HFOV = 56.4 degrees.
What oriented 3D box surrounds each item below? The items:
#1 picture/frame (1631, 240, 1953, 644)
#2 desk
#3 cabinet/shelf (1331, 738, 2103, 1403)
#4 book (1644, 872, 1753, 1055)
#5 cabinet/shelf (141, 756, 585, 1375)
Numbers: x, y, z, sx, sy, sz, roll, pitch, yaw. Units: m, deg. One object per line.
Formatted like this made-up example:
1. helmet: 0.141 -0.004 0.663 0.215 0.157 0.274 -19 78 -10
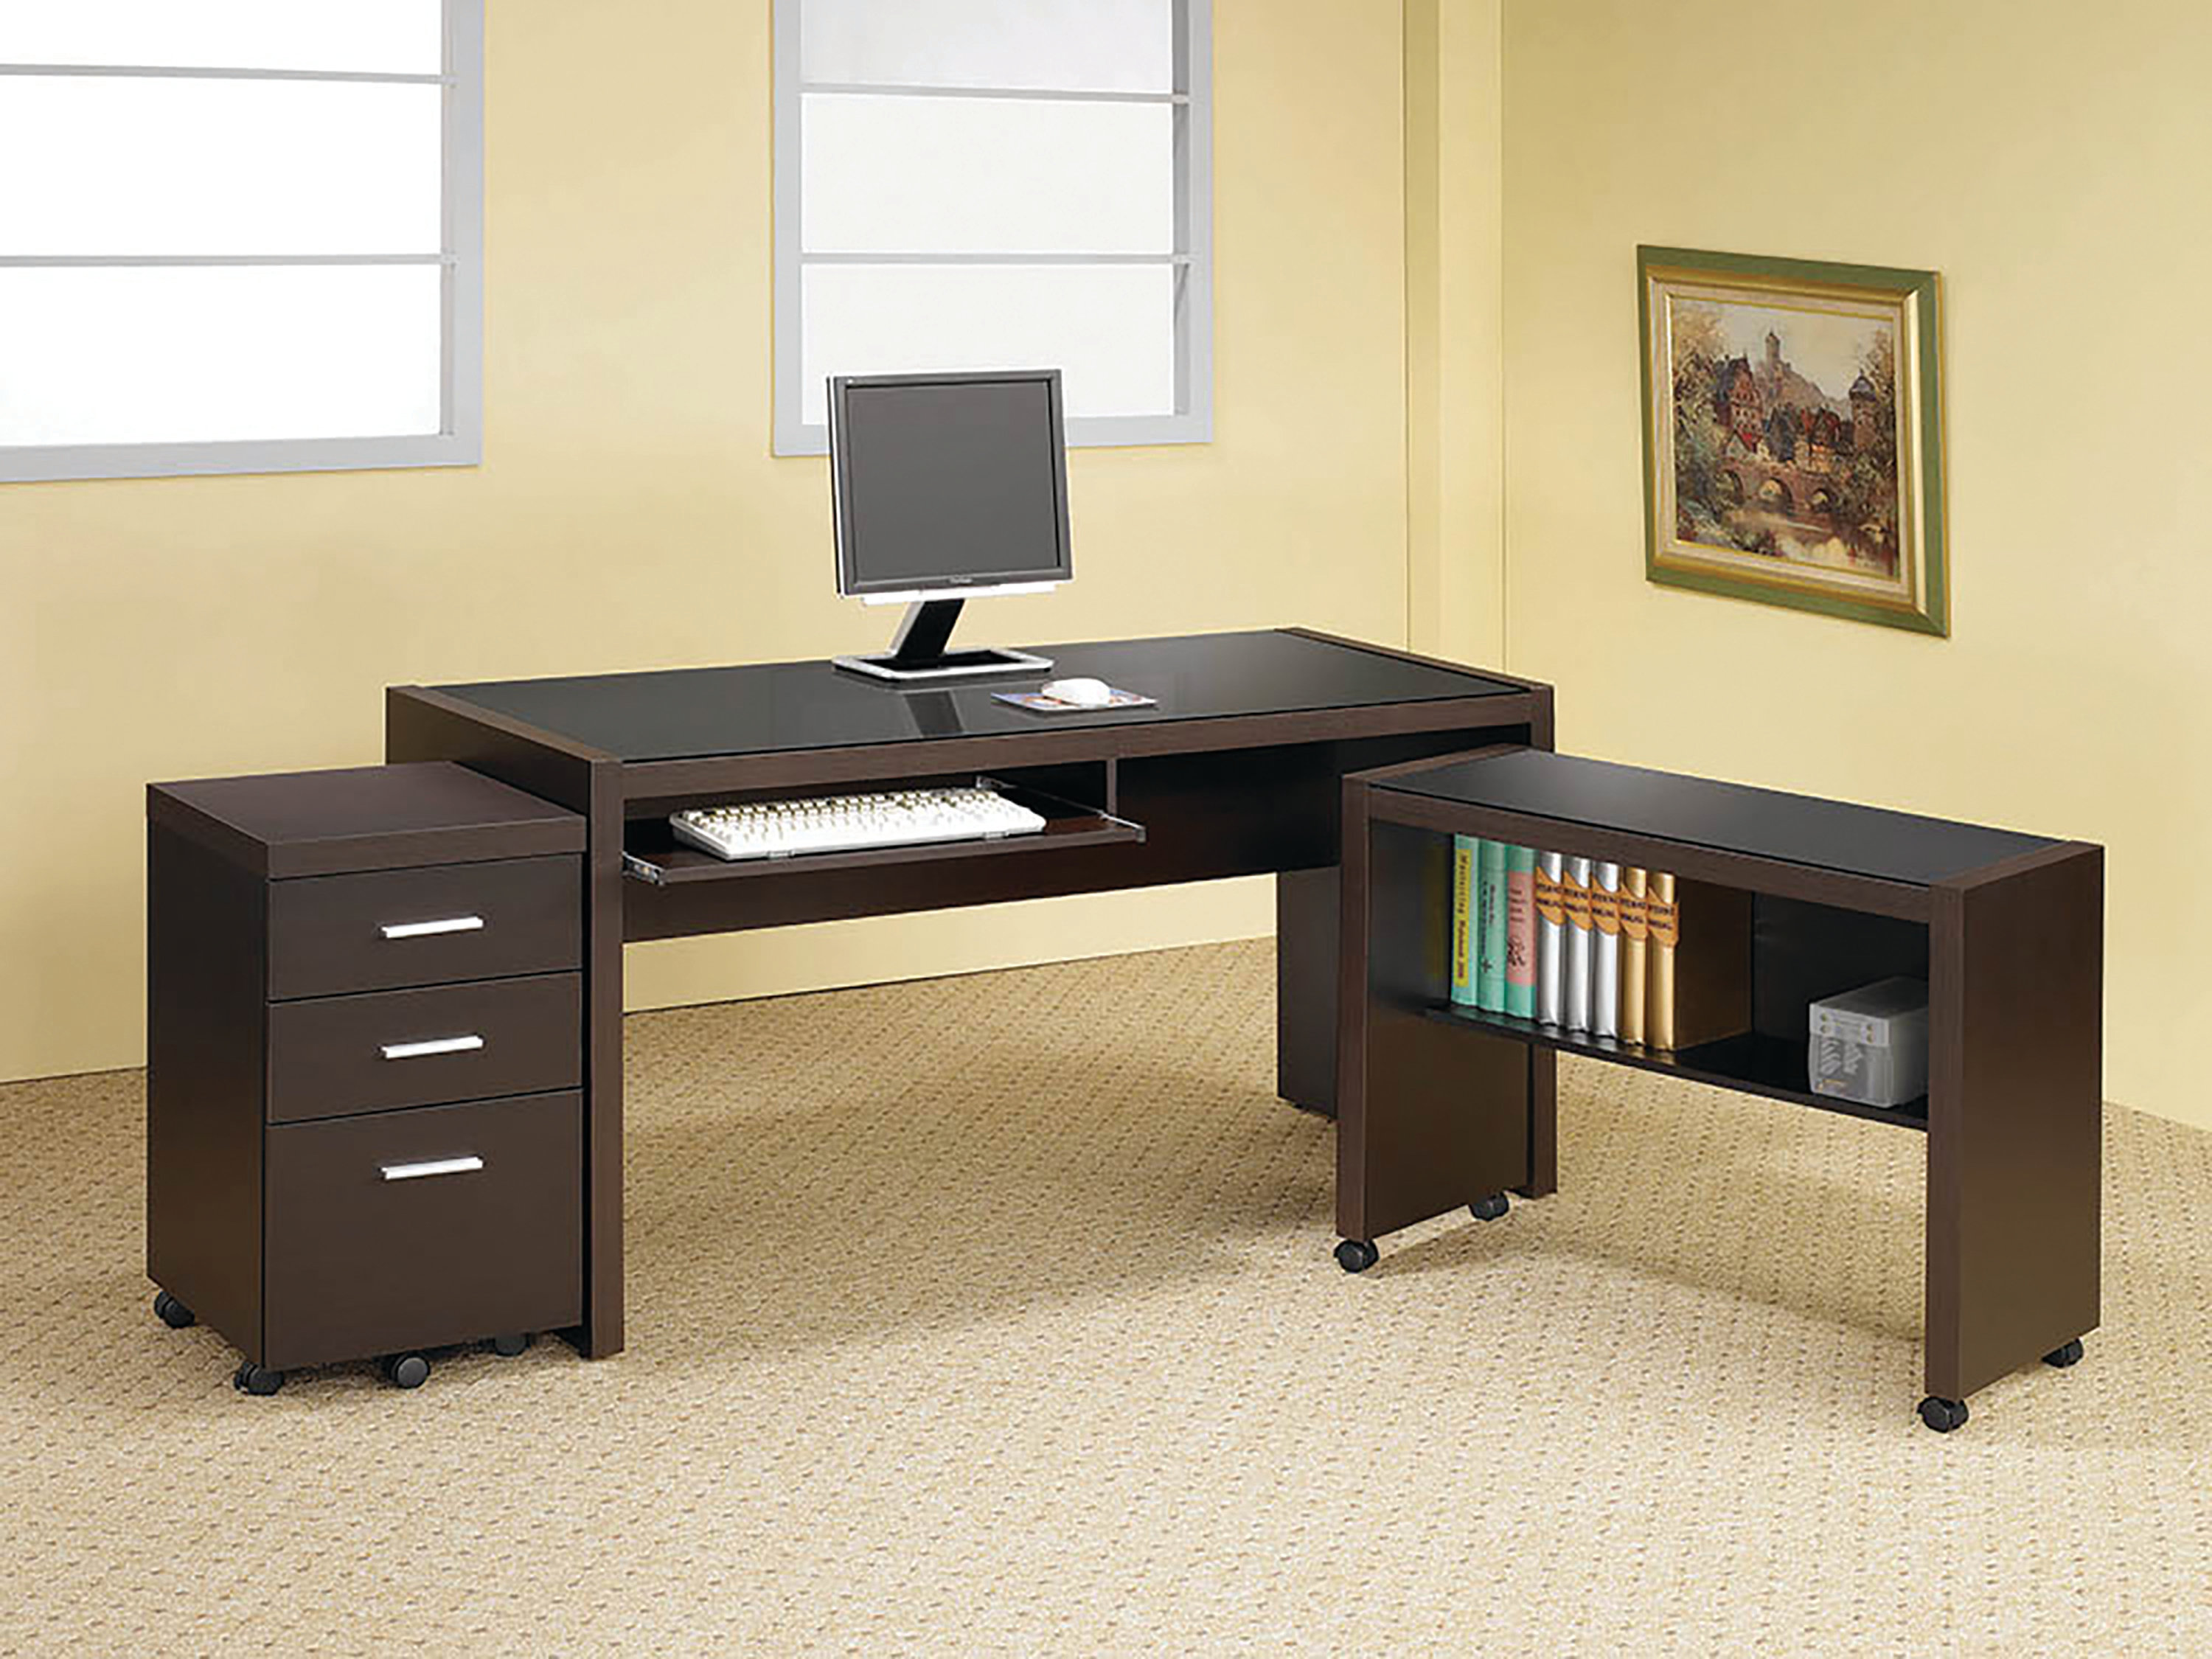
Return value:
1. picture/frame: 1.721 -1.010 5.202 0.100 0.927 1.057 -6 14 -25
2. desk: -0.203 0.246 4.201 2.076 1.056 1.047 -5 10 -31
3. cabinet/shelf: 1.075 0.417 3.737 0.528 0.904 1.291 -9 12 -41
4. book: 1.029 0.227 3.701 0.194 0.292 0.185 10 9 -11
5. cabinet/shelf: -1.268 0.410 3.513 0.648 0.956 0.620 -8 15 -32
